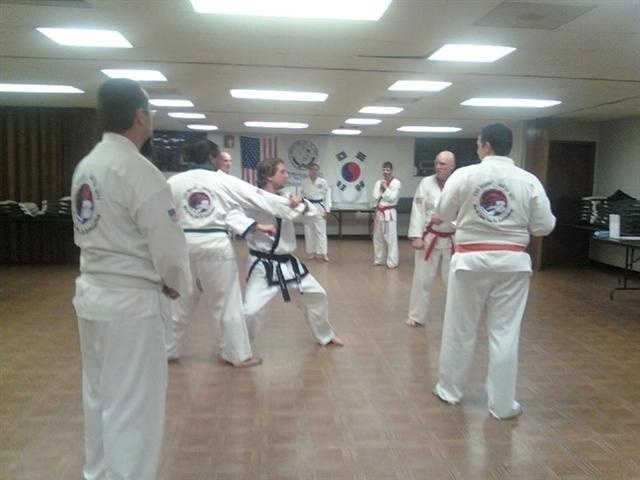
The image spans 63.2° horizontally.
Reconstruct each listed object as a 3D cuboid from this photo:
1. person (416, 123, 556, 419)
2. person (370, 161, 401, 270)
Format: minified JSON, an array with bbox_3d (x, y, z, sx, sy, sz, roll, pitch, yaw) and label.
[{"bbox_3d":[1.156,0.193,3.620,0.744,1.957,0.530,6,14,24],"label":"person"},{"bbox_3d":[1.069,-0.391,8.207,0.423,1.639,0.923,1,13,6],"label":"person"}]
